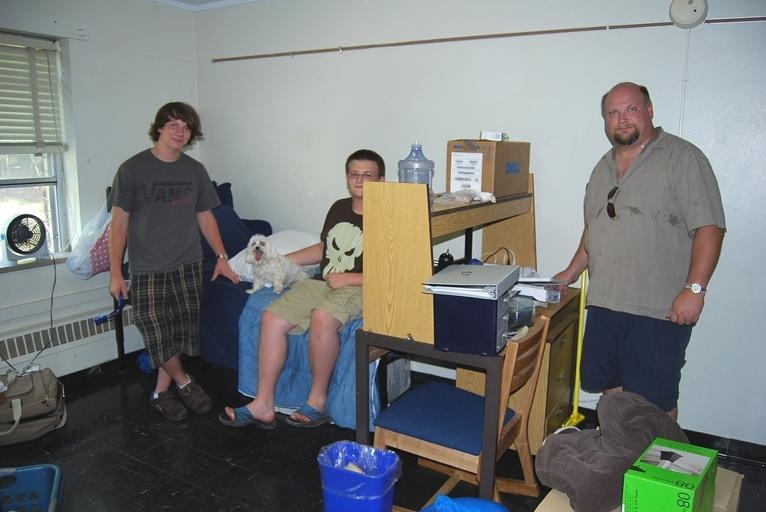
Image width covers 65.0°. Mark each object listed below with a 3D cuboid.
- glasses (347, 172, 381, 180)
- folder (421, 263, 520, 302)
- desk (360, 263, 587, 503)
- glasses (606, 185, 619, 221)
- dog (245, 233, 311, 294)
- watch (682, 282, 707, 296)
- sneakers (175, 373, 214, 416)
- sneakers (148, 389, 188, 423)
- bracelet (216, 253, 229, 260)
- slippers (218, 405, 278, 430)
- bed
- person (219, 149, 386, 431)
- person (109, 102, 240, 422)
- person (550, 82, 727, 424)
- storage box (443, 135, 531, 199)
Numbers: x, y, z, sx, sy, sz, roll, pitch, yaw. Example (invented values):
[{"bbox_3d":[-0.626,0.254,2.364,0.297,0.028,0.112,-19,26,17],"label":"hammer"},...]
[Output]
[{"bbox_3d":[-0.118,-0.544,4.102,0.238,0.049,0.117,-1,12,-5],"label":"glasses"},{"bbox_3d":[0.507,0.133,3.371,0.423,0.110,0.517,6,14,27],"label":"folder"},{"bbox_3d":[0.588,0.706,4.166,1.391,1.990,1.169,6,10,26],"label":"desk"},{"bbox_3d":[1.393,-0.328,3.665,0.060,0.161,0.118,2,-7,-23],"label":"glasses"},{"bbox_3d":[-0.809,0.063,4.624,0.517,0.392,0.314,5,-11,-45],"label":"dog"},{"bbox_3d":[1.776,0.184,3.403,0.076,0.069,0.072,3,6,7],"label":"watch"},{"bbox_3d":[-1.352,1.026,4.346,0.153,0.147,0.369,-43,51,-16],"label":"sneakers"},{"bbox_3d":[-1.533,1.055,4.350,0.348,0.137,0.133,19,22,31],"label":"sneakers"},{"bbox_3d":[-1.245,0.001,4.630,0.059,0.041,0.064,-4,1,6],"label":"bracelet"},{"bbox_3d":[-0.932,1.134,4.203,0.382,0.124,0.162,10,1,-9],"label":"slippers"},{"bbox_3d":[-1.258,0.278,4.728,2.098,1.369,1.213,9,8,21],"label":"bed"},{"bbox_3d":[-0.498,0.213,4.216,0.961,1.879,0.709,1,13,8],"label":"person"},{"bbox_3d":[-1.515,0.004,4.396,0.679,2.204,0.713,6,14,27],"label":"person"},{"bbox_3d":[1.591,-0.031,3.643,0.794,2.000,0.397,7,15,29],"label":"person"},{"bbox_3d":[0.732,-0.589,4.093,0.342,0.397,0.645,7,10,35],"label":"storage box"}]
